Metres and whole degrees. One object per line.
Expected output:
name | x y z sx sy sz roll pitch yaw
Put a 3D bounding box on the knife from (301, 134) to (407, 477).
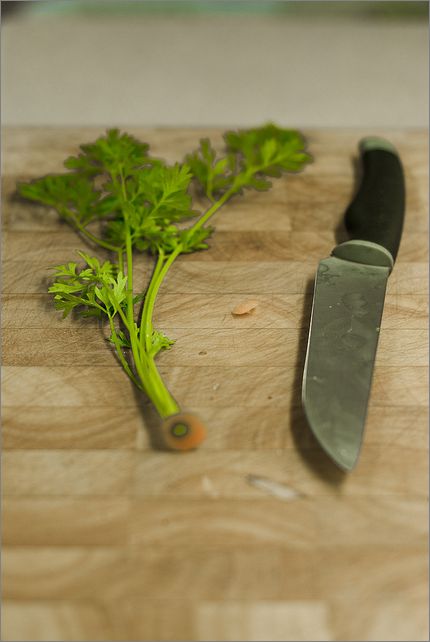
knife | 0.239 -0.063 1.023 0.143 0.068 0.635 11 55 9
